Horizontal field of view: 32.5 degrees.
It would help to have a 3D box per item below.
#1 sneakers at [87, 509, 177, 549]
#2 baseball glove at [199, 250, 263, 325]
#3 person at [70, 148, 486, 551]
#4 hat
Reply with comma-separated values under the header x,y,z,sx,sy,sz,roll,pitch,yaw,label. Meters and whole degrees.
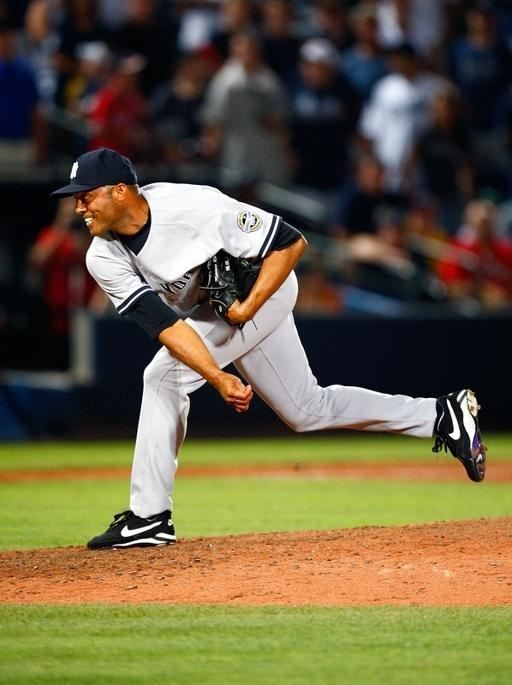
x,y,z,sx,sy,sz,roll,pitch,yaw,label
-0.403,0.664,3.129,0.365,0.130,0.116,1,-6,-4,sneakers
-0.073,-0.179,2.980,0.113,0.228,0.195,6,-12,-33,baseball glove
0.054,0.015,3.162,1.578,1.271,0.779,-5,1,-23,person
-0.510,-0.559,2.854,0.271,0.132,0.158,-6,12,-21,hat
